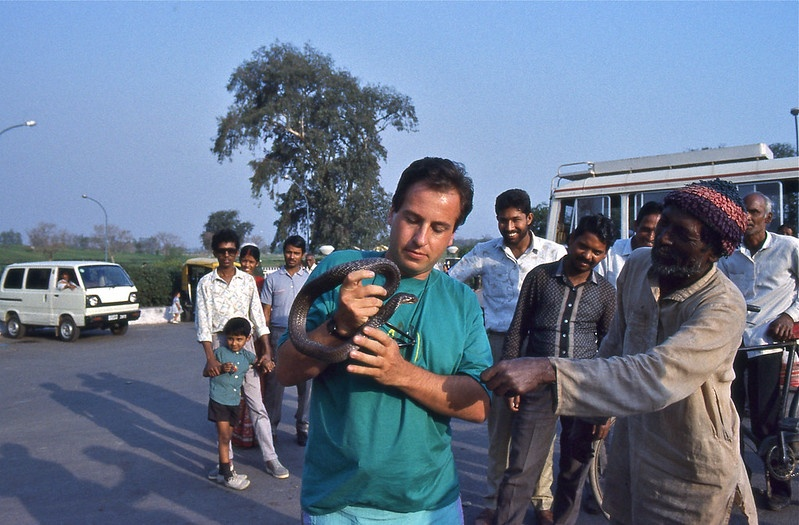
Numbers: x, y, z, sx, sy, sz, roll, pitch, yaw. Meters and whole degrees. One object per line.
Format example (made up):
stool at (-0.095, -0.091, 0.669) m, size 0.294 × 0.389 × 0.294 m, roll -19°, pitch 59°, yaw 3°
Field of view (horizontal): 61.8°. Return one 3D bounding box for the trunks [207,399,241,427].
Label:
trunks at (-2.088, 1.778, 7.999) m, size 0.373 × 0.358 × 0.211 m, roll 26°, pitch -46°, yaw -37°

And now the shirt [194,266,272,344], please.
shirt at (-2.119, 0.556, 8.603) m, size 1.179 × 1.173 × 0.599 m, roll 0°, pitch -3°, yaw -25°

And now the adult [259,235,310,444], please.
adult at (-1.539, 1.133, 9.518) m, size 1.049 × 2.936 × 0.845 m, roll 1°, pitch 10°, yaw -12°

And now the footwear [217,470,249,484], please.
footwear at (-1.941, 2.526, 7.931) m, size 0.396 × 0.166 × 0.140 m, roll 0°, pitch 0°, yaw -2°

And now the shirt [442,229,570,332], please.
shirt at (1.477, 0.235, 8.104) m, size 2.057 × 1.146 × 0.547 m, roll -2°, pitch 9°, yaw 17°

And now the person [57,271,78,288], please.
person at (-9.098, 0.489, 18.327) m, size 0.731 × 0.455 × 0.283 m, roll 4°, pitch 7°, yaw 25°

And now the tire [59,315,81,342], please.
tire at (-8.923, 1.751, 18.094) m, size 0.679 × 0.681 × 0.244 m, roll 3°, pitch -2°, yaw 31°

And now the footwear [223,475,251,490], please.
footwear at (-1.893, 2.577, 7.882) m, size 0.315 × 0.136 × 0.124 m, roll 2°, pitch 12°, yaw 4°

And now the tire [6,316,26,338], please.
tire at (-10.840, 1.794, 18.911) m, size 0.603 × 0.602 × 0.219 m, roll 1°, pitch -4°, yaw 24°

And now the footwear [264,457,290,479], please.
footwear at (-1.477, 2.504, 8.148) m, size 0.149 × 0.150 × 0.378 m, roll -3°, pitch -2°, yaw -41°

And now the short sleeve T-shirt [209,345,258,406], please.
short sleeve T-shirt at (-2.046, 1.369, 8.177) m, size 0.358 × 0.678 × 0.575 m, roll -16°, pitch -25°, yaw 42°
